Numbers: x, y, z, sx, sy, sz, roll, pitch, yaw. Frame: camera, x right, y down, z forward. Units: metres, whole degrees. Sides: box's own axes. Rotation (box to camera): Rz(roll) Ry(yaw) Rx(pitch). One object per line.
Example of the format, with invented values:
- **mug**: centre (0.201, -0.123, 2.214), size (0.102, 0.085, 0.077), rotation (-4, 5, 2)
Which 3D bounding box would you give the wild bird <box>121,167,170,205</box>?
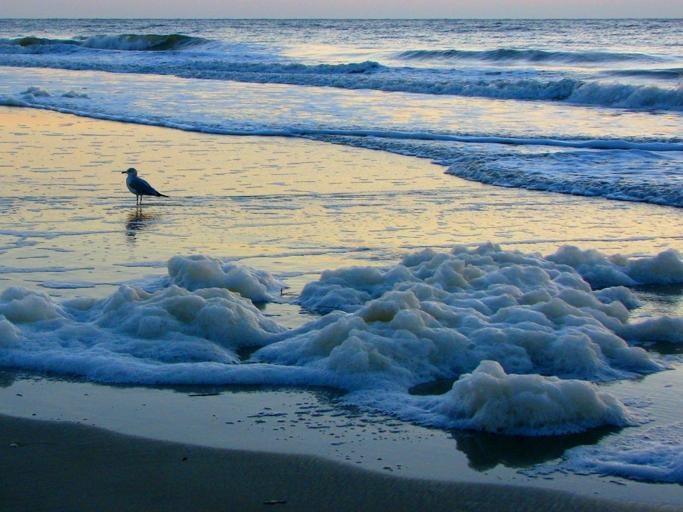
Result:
- **wild bird**: centre (-3.234, -1.155, 17.164), size (0.871, 0.458, 0.350), rotation (17, 26, 32)
